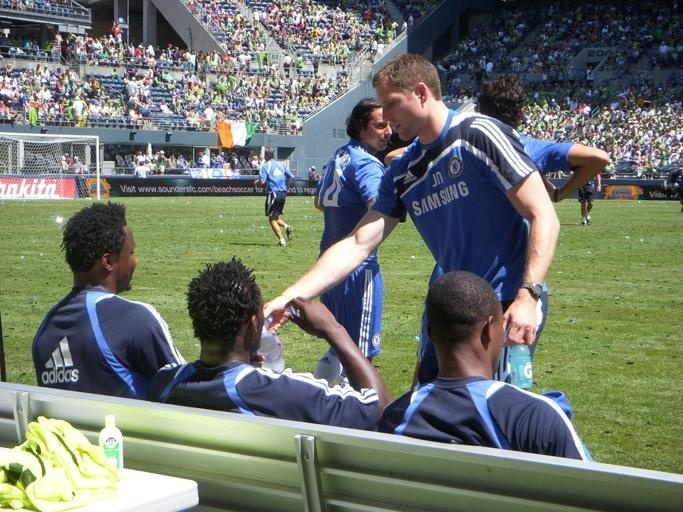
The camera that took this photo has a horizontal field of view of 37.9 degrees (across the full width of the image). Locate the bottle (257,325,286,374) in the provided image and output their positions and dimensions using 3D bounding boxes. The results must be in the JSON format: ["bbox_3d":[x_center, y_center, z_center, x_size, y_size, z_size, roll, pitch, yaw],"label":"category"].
[{"bbox_3d":[-0.442,0.577,6.178,0.159,0.340,0.514,1,8,-4],"label":"bottle"}]
